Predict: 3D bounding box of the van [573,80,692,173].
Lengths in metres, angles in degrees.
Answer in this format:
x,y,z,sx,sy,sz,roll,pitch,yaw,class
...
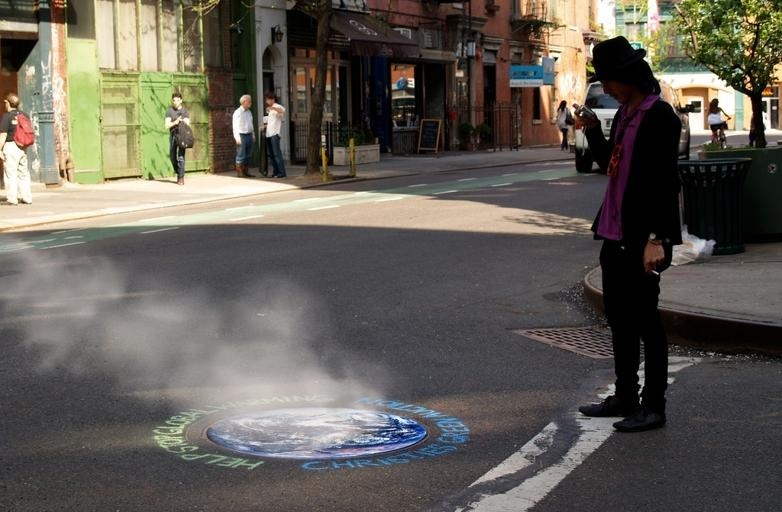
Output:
x,y,z,sx,sy,sz,roll,pitch,yaw,class
7.455,-3.923,26.474,2.576,2.756,5.602,2,8,26,van

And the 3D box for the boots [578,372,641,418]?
x,y,z,sx,sy,sz,roll,pitch,yaw,class
1.680,1.096,6.800,0.477,0.305,0.177,-5,25,4,boots

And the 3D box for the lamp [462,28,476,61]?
x,y,z,sx,sy,sz,roll,pitch,yaw,class
3.542,-9.485,39.843,0.650,1.111,0.690,5,15,10,lamp

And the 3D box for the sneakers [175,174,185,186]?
x,y,z,sx,sy,sz,roll,pitch,yaw,class
-5.576,-2.029,23.472,0.182,0.255,0.582,-2,1,-22,sneakers

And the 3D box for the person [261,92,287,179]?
x,y,z,sx,sy,sz,roll,pitch,yaw,class
-3.353,-3.556,25.536,0.547,2.376,1.233,-1,12,-8,person

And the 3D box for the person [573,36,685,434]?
x,y,z,sx,sy,sz,roll,pitch,yaw,class
1.795,-0.161,6.556,0.714,2.862,0.556,10,15,42,person

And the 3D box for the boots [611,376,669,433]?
x,y,z,sx,sy,sz,roll,pitch,yaw,class
1.874,1.143,6.572,0.470,0.333,0.179,-3,7,-27,boots

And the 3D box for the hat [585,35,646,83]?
x,y,z,sx,sy,sz,roll,pitch,yaw,class
1.652,-1.487,6.527,0.373,0.144,0.329,-26,12,16,hat

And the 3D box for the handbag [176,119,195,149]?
x,y,z,sx,sy,sz,roll,pitch,yaw,class
-5.326,-3.159,22.722,0.412,0.661,0.347,-4,12,-17,handbag

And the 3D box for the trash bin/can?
x,y,z,sx,sy,sz,roll,pitch,yaw,class
4.296,-0.676,11.776,0.900,1.265,0.390,3,12,15,trash bin/can

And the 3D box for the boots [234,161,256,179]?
x,y,z,sx,sy,sz,roll,pitch,yaw,class
-4.272,-2.514,25.477,0.488,0.564,0.480,0,4,9,boots

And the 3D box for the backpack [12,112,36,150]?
x,y,z,sx,sy,sz,roll,pitch,yaw,class
-7.737,-2.702,18.559,0.377,0.670,0.487,3,14,0,backpack

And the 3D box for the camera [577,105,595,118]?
x,y,z,sx,sy,sz,roll,pitch,yaw,class
1.457,-1.112,6.604,0.098,0.045,0.099,21,13,-40,camera

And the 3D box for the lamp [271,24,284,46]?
x,y,z,sx,sy,sz,roll,pitch,yaw,class
-3.727,-7.348,28.958,0.222,0.597,0.531,6,13,26,lamp

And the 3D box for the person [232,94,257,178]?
x,y,z,sx,sy,sz,roll,pitch,yaw,class
-4.212,-3.448,25.159,0.500,2.343,1.304,-2,12,-8,person
